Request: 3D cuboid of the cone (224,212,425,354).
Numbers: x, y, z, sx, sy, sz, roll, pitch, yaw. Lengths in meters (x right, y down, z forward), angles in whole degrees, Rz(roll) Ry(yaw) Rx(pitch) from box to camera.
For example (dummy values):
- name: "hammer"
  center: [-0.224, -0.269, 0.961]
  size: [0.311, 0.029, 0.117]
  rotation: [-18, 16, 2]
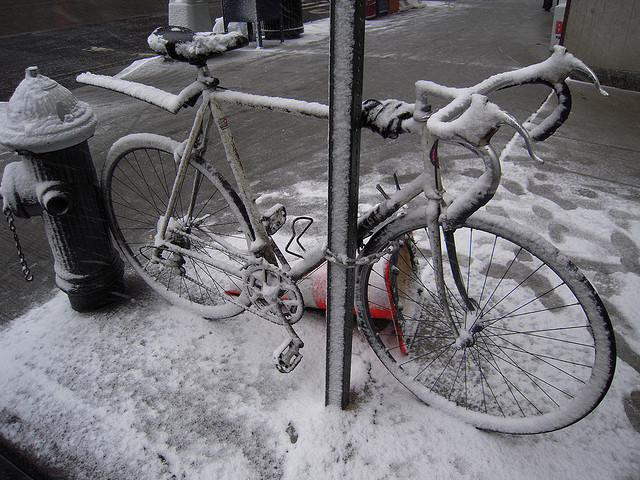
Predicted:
- name: "cone"
  center: [-0.003, 0.315, 4.154]
  size: [1.526, 0.620, 0.874]
  rotation: [2, 31, 9]
